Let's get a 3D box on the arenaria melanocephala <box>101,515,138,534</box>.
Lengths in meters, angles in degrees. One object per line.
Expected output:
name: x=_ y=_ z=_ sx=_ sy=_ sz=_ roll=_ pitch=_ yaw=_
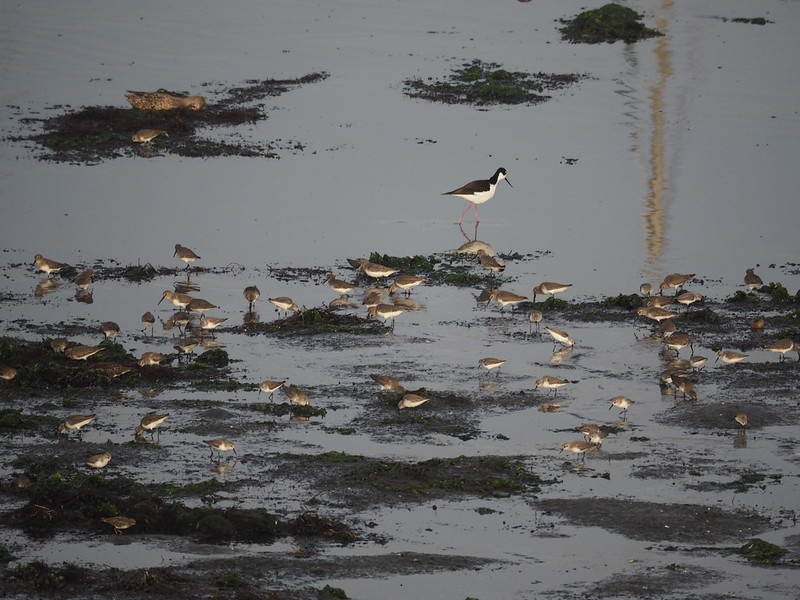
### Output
arenaria melanocephala: x=-6.682 y=5.347 z=35.738 sx=0.814 sy=0.343 sz=0.328 roll=2 pitch=20 yaw=3
